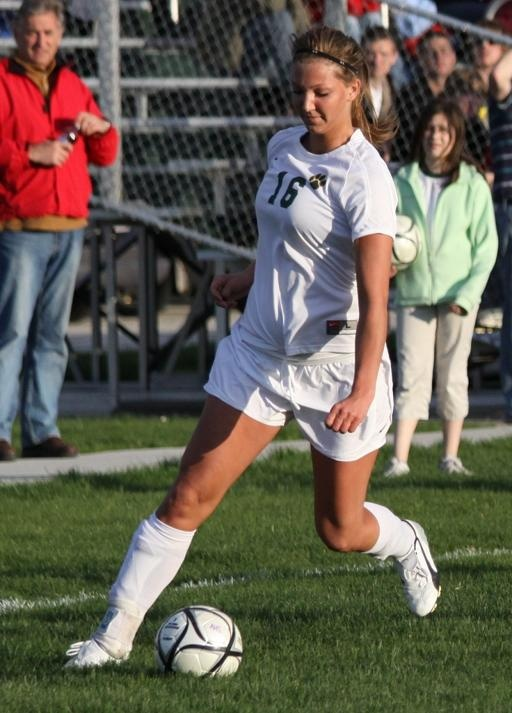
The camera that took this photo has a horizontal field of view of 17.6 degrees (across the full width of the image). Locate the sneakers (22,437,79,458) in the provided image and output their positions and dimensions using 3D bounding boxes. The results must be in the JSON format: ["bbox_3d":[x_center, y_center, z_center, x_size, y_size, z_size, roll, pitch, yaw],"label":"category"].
[{"bbox_3d":[-1.019,0.432,8.117,0.245,0.130,0.101,-2,1,-2],"label":"sneakers"}]

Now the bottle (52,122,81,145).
[{"bbox_3d":[-0.869,-1.017,7.611,0.038,0.084,0.117,22,-28,-35],"label":"bottle"}]

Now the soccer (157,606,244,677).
[{"bbox_3d":[-0.186,0.929,5.349,0.193,0.237,0.204,-13,3,3],"label":"soccer"}]

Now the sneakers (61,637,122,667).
[{"bbox_3d":[-0.529,0.939,5.336,0.169,0.090,0.087,3,-8,-1],"label":"sneakers"}]

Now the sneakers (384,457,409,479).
[{"bbox_3d":[0.684,0.547,8.102,0.053,0.078,0.162,-2,-4,18],"label":"sneakers"}]

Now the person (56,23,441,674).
[{"bbox_3d":[0.092,-0.041,5.433,1.147,2.047,0.801,0,7,-3],"label":"person"}]

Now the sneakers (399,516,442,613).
[{"bbox_3d":[0.585,0.765,5.859,0.137,0.389,0.108,-1,-13,-44],"label":"sneakers"}]

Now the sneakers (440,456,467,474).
[{"bbox_3d":[0.980,0.535,8.226,0.051,0.085,0.177,-3,5,26],"label":"sneakers"}]
